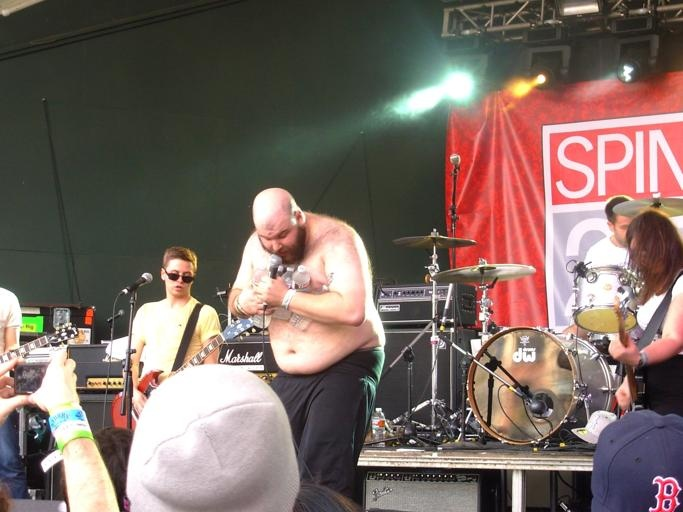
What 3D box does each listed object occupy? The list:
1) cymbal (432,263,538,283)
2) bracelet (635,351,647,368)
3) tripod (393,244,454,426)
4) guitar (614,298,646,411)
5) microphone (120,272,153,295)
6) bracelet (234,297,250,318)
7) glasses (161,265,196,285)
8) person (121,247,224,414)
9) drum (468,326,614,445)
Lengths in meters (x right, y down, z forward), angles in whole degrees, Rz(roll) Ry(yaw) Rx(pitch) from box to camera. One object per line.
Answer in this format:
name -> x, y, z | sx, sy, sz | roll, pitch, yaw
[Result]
cymbal -> 1.197, 0.137, 6.352 | 0.797, 0.190, 0.499 | 2, -8, -13
bracelet -> 1.605, 0.549, 3.997 | 0.051, 0.085, 0.115 | -3, -8, 21
tripod -> 0.825, 0.667, 6.680 | 0.730, 1.742, 0.583 | 3, -4, -29
guitar -> 1.681, 0.603, 4.401 | 0.100, 0.640, 1.118 | -3, -8, 21
microphone -> -2.188, 0.301, 8.070 | 0.133, 0.142, 0.468 | -5, 18, 38
bracelet -> -0.568, 0.286, 4.259 | 0.091, 0.099, 0.095 | 3, -7, -14
glasses -> -1.314, 0.160, 6.030 | 0.252, 0.127, 0.151 | 2, -8, -12
person -> -1.379, 0.534, 6.117 | 0.590, 1.508, 0.588 | 2, 2, -26
drum -> 1.522, 0.986, 5.762 | 1.101, 0.891, 0.435 | -3, -7, 18
